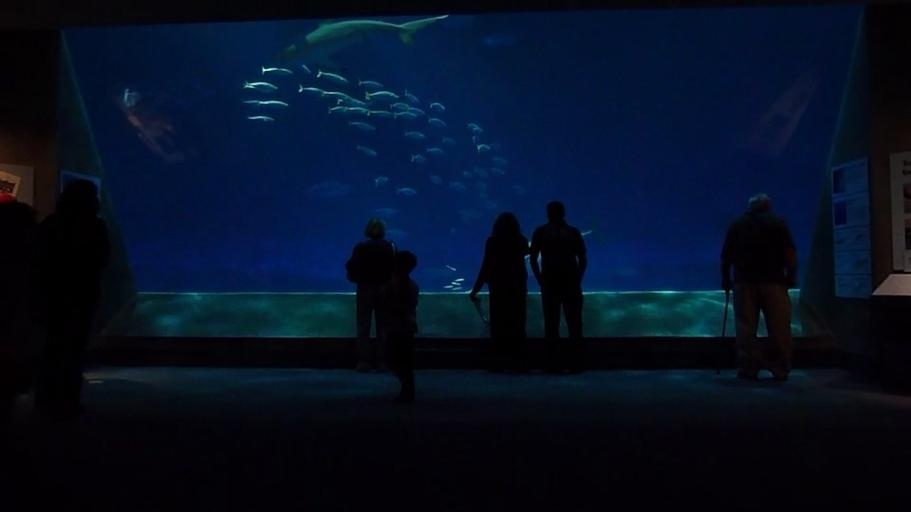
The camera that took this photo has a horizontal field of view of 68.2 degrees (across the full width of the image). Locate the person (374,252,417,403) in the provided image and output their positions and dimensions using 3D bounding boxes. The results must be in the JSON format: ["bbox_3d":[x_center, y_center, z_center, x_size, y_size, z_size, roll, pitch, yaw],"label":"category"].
[{"bbox_3d":[-0.917,1.119,11.047,0.548,2.402,0.742,0,-3,-4],"label":"person"}]

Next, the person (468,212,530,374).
[{"bbox_3d":[0.862,0.635,12.027,0.889,2.845,0.539,0,-4,1],"label":"person"}]

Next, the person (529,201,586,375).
[{"bbox_3d":[1.829,0.532,12.033,0.964,3.047,0.452,0,-4,5],"label":"person"}]

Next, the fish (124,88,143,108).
[{"bbox_3d":[-10.017,-4.939,20.900,0.214,0.538,0.510,-16,-12,36],"label":"fish"}]

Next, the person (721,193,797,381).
[{"bbox_3d":[5.298,0.512,11.711,1.189,3.210,0.367,-1,-4,19],"label":"person"}]
